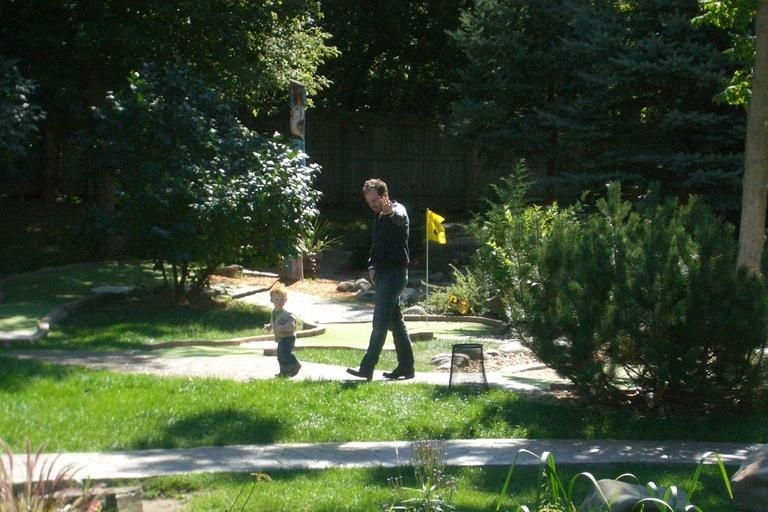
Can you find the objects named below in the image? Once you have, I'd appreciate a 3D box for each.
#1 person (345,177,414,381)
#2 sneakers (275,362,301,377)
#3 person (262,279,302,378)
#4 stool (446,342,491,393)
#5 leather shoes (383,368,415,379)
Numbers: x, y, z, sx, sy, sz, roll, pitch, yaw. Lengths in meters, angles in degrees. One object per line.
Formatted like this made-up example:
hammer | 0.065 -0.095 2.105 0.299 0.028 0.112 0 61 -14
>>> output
person | 0.025 0.334 12.942 0.831 2.666 0.743 2 10 1
sneakers | -1.293 1.532 13.000 0.306 0.160 0.158 0 10 -12
person | -1.395 1.012 13.205 0.491 1.181 1.089 1 10 -5
stool | 1.136 1.492 12.712 0.635 0.597 0.639 1 -19 5
leather shoes | 0.202 1.576 13.203 0.457 0.199 0.157 4 -2 0
